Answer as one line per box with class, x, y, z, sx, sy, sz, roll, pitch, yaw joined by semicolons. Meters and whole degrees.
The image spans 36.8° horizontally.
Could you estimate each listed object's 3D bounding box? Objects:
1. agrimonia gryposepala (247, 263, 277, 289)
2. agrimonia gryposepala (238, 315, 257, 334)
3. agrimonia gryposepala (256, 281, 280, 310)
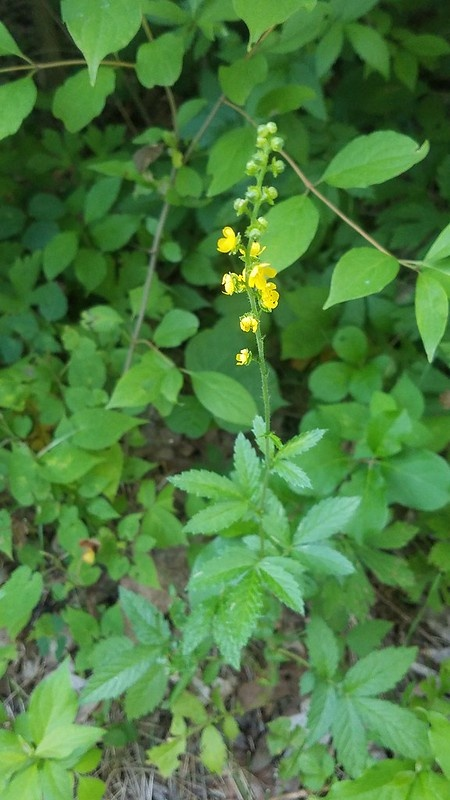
agrimonia gryposepala;0.075;-0.307;1.580;0.065;0.064;0.031;4;31;-41
agrimonia gryposepala;0.049;-0.182;1.610;0.043;0.048;0.022;0;14;15
agrimonia gryposepala;0.104;-0.249;1.604;0.051;0.067;0.026;-1;16;-3
